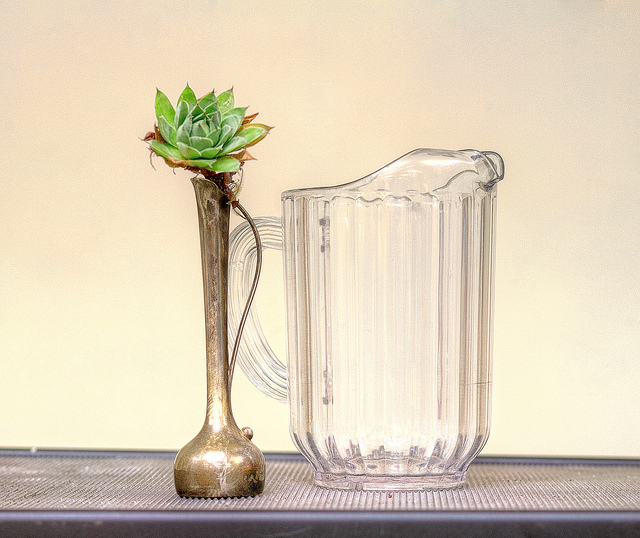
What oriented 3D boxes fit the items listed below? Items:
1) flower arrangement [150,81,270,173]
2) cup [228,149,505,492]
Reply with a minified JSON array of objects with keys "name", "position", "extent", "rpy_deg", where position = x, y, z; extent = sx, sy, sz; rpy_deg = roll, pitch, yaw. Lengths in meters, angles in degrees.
[{"name":"flower arrangement","position":[-0.132,-0.159,1.035],"extent":[0.136,0.085,0.056],"rpy_deg":[5,-32,-14]},{"name":"cup","position":[0.069,0.066,1.087],"extent":[0.395,0.492,0.293],"rpy_deg":[-1,-4,5]}]
